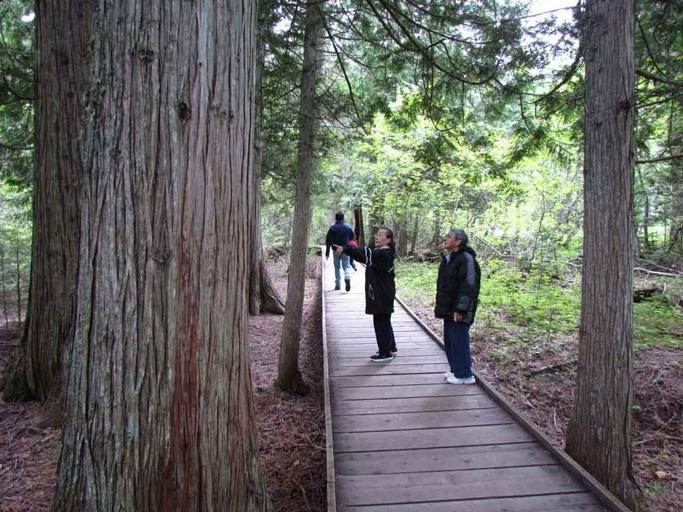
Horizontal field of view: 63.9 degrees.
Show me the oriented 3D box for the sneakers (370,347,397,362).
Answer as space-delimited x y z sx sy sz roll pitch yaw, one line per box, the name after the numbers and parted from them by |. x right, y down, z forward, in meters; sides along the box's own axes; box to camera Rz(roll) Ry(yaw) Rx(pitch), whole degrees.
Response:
0.566 1.356 7.499 0.359 0.167 0.144 1 -2 -12 | sneakers

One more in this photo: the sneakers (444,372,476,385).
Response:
1.440 1.484 6.705 0.316 0.157 0.134 12 -5 14 | sneakers

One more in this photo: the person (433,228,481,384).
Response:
1.359 0.627 6.520 0.392 1.845 0.546 -11 19 -42 | person
